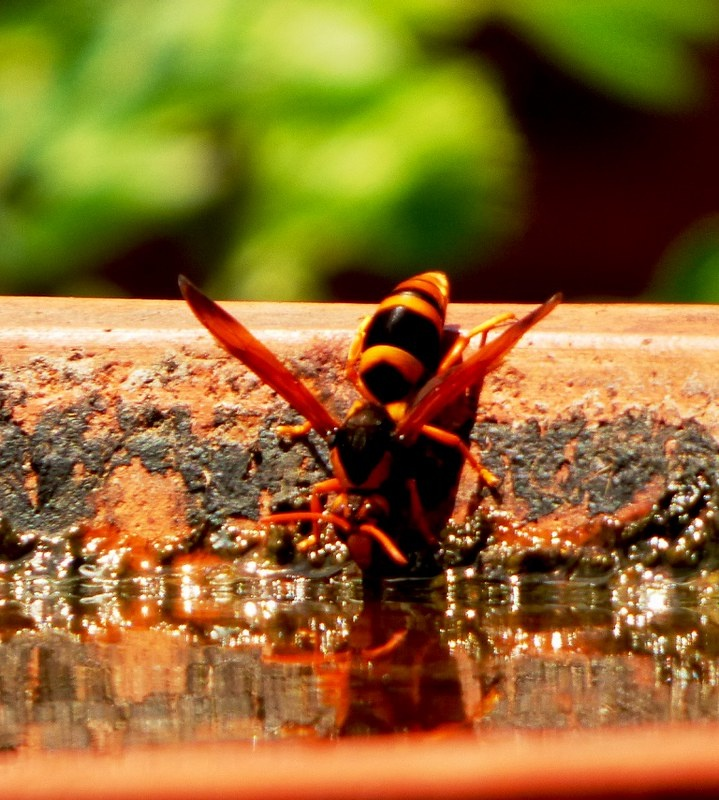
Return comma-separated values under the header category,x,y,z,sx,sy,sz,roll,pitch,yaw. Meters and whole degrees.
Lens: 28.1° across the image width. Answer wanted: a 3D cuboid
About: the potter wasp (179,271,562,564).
category,x,y,z,sx,sy,sz,roll,pitch,yaw
potter wasp,0.047,0.016,1.806,0.471,0.371,0.274,2,-32,30
